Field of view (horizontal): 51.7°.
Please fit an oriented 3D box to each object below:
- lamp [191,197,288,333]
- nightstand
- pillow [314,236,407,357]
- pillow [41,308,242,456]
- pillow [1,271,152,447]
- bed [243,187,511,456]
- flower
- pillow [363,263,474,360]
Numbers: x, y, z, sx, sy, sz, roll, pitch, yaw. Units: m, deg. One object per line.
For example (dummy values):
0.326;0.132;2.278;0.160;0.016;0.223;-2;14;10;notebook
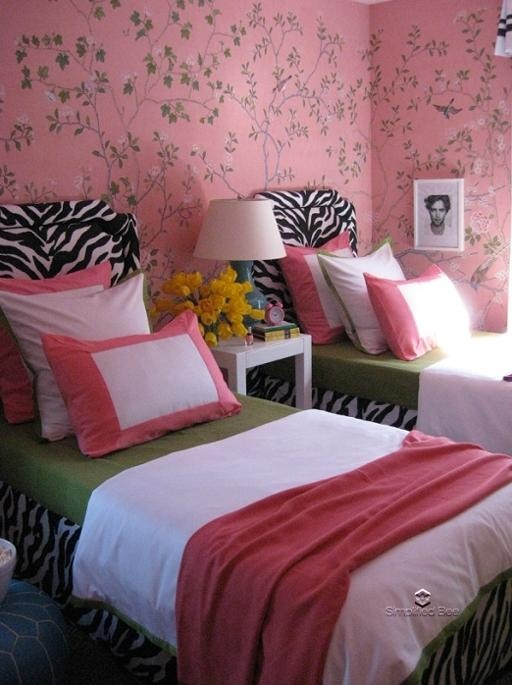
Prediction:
-0.118;-0.525;2.832;0.450;0.530;0.431;13;28;8;lamp
-0.014;0.181;2.809;0.439;0.422;0.415;-15;23;-36;nightstand
0.701;-0.280;3.113;0.391;0.525;0.795;15;22;39;pillow
-0.369;0.125;1.803;0.265;0.376;0.584;5;10;42;pillow
-0.623;0.064;1.815;0.157;0.493;0.518;-20;-6;38;pillow
0.765;-0.215;3.034;0.958;1.178;1.448;-14;19;-43;bed
-0.220;-0.191;2.698;0.428;0.321;0.448;13;13;40;flower
0.895;-0.194;2.948;0.738;0.399;0.280;-11;18;-42;pillow
